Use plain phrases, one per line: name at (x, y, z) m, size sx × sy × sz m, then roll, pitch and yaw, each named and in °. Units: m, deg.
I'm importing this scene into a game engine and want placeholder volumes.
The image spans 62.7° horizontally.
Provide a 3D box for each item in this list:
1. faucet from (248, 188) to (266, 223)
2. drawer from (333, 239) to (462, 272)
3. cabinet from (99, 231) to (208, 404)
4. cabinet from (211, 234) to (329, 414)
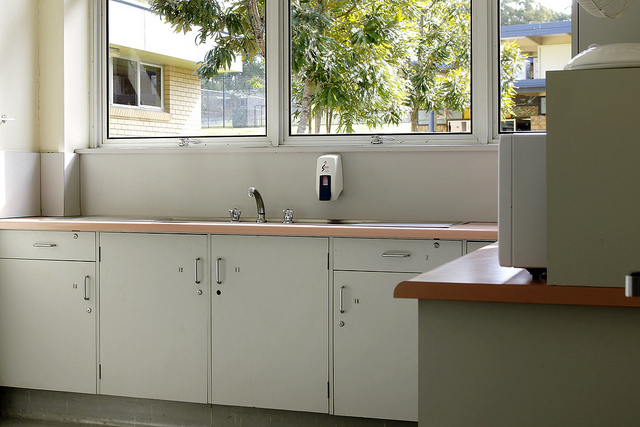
faucet at (-0.406, -0.058, 3.434) m, size 0.100 × 0.220 × 0.297 m, roll -1°, pitch 4°, yaw -6°
drawer at (0.287, 0.276, 3.175) m, size 0.898 × 0.174 × 0.838 m, roll 3°, pitch -9°, yaw -29°
cabinet at (-1.103, 0.472, 3.391) m, size 0.757 × 0.970 × 0.692 m, roll 2°, pitch 20°, yaw -17°
cabinet at (-0.254, 0.467, 3.294) m, size 0.872 × 1.065 × 0.774 m, roll -2°, pitch 20°, yaw -3°
